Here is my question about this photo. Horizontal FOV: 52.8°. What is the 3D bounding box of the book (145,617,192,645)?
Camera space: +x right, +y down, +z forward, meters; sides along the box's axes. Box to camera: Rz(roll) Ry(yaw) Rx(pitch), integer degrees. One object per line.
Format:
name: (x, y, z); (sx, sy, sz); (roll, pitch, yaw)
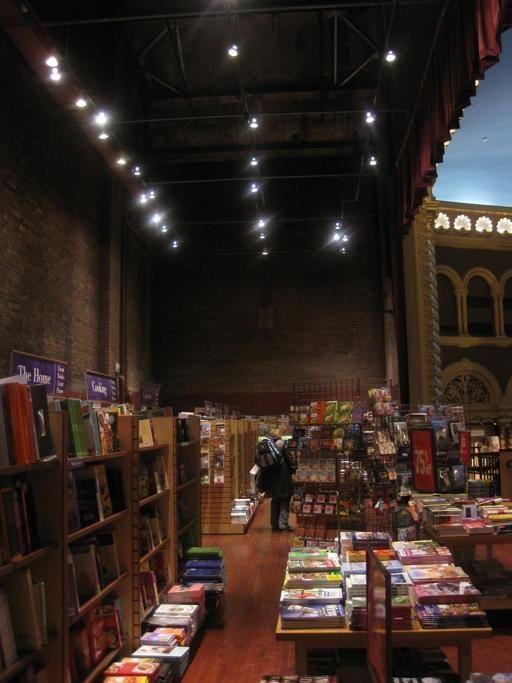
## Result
book: (-0.574, 1.931, 3.467); (0.189, 0.049, 0.202); (1, -9, 6)

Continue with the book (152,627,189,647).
book: (-0.561, 1.910, 3.336); (0.142, 0.039, 0.153); (2, -15, 1)

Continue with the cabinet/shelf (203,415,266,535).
cabinet/shelf: (-0.472, 2.159, 8.823); (0.671, 1.738, 1.957); (-4, -6, 11)

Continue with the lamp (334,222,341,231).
lamp: (2.293, -3.232, 14.572); (0.152, 0.219, 0.208); (-2, 17, 2)

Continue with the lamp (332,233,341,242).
lamp: (2.294, -2.999, 14.957); (0.189, 0.237, 0.198); (-2, 8, 20)

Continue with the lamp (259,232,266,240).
lamp: (0.171, -3.075, 15.215); (0.234, 0.259, 0.134); (-1, -9, 4)

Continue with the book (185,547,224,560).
book: (-0.478, 1.938, 4.690); (0.360, 0.075, 0.166); (-6, -6, 15)

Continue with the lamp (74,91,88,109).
lamp: (-2.714, -3.745, 8.063); (0.190, 0.200, 0.045); (23, 3, 38)

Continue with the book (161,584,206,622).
book: (-0.552, 1.925, 3.973); (0.230, 0.245, 0.342); (0, -8, -1)

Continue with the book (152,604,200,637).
book: (-0.579, 1.919, 3.608); (0.225, 0.069, 0.238); (2, -7, 1)

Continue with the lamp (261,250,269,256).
lamp: (0.262, -2.590, 15.181); (0.133, 0.138, 0.091); (-8, 3, -6)

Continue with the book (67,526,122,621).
book: (-0.879, 1.234, 2.772); (0.076, 0.365, 0.344); (-2, -5, 20)

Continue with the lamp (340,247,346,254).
lamp: (2.520, -2.618, 15.012); (0.133, 0.148, 0.258); (2, 4, 7)

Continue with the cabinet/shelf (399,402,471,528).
cabinet/shelf: (1.507, 1.071, 4.397); (0.426, 1.140, 1.176); (-4, 1, 27)

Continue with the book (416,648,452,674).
book: (0.766, 1.362, 2.204); (0.118, 0.037, 0.134); (1, -3, 6)

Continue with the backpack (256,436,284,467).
backpack: (0.202, 1.693, 7.648); (0.324, 0.466, 0.441); (-1, -46, 0)

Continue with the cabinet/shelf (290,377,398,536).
cabinet/shelf: (0.941, 1.346, 5.715); (0.600, 1.542, 1.266); (1, -7, -40)
